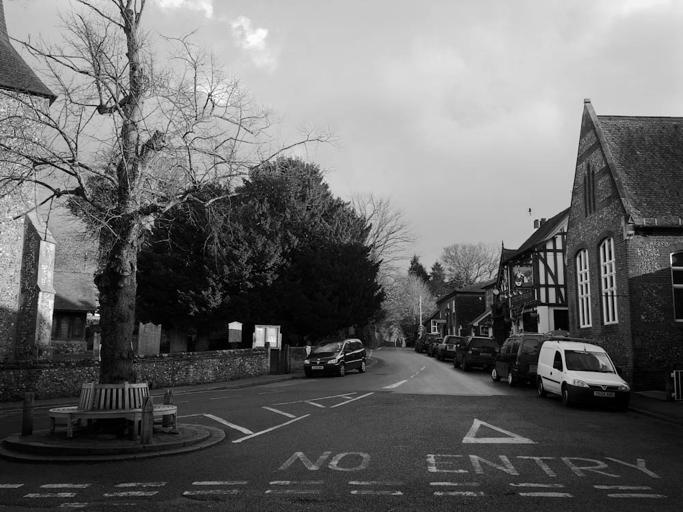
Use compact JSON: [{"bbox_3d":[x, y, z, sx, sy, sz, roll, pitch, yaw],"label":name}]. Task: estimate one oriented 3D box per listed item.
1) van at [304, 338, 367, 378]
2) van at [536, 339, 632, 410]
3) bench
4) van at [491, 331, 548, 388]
[{"bbox_3d":[-0.227,5.388,32.767,1.806,2.098,3.728,-10,-16,32],"label":"van"},{"bbox_3d":[8.138,3.886,20.529,2.307,2.536,2.742,-4,-13,9],"label":"van"},{"bbox_3d":[-4.971,3.385,13.527,2.526,1.217,1.689,-3,-14,4],"label":"bench"},{"bbox_3d":[7.917,4.588,26.636,1.791,2.208,4.193,8,-6,1],"label":"van"}]
